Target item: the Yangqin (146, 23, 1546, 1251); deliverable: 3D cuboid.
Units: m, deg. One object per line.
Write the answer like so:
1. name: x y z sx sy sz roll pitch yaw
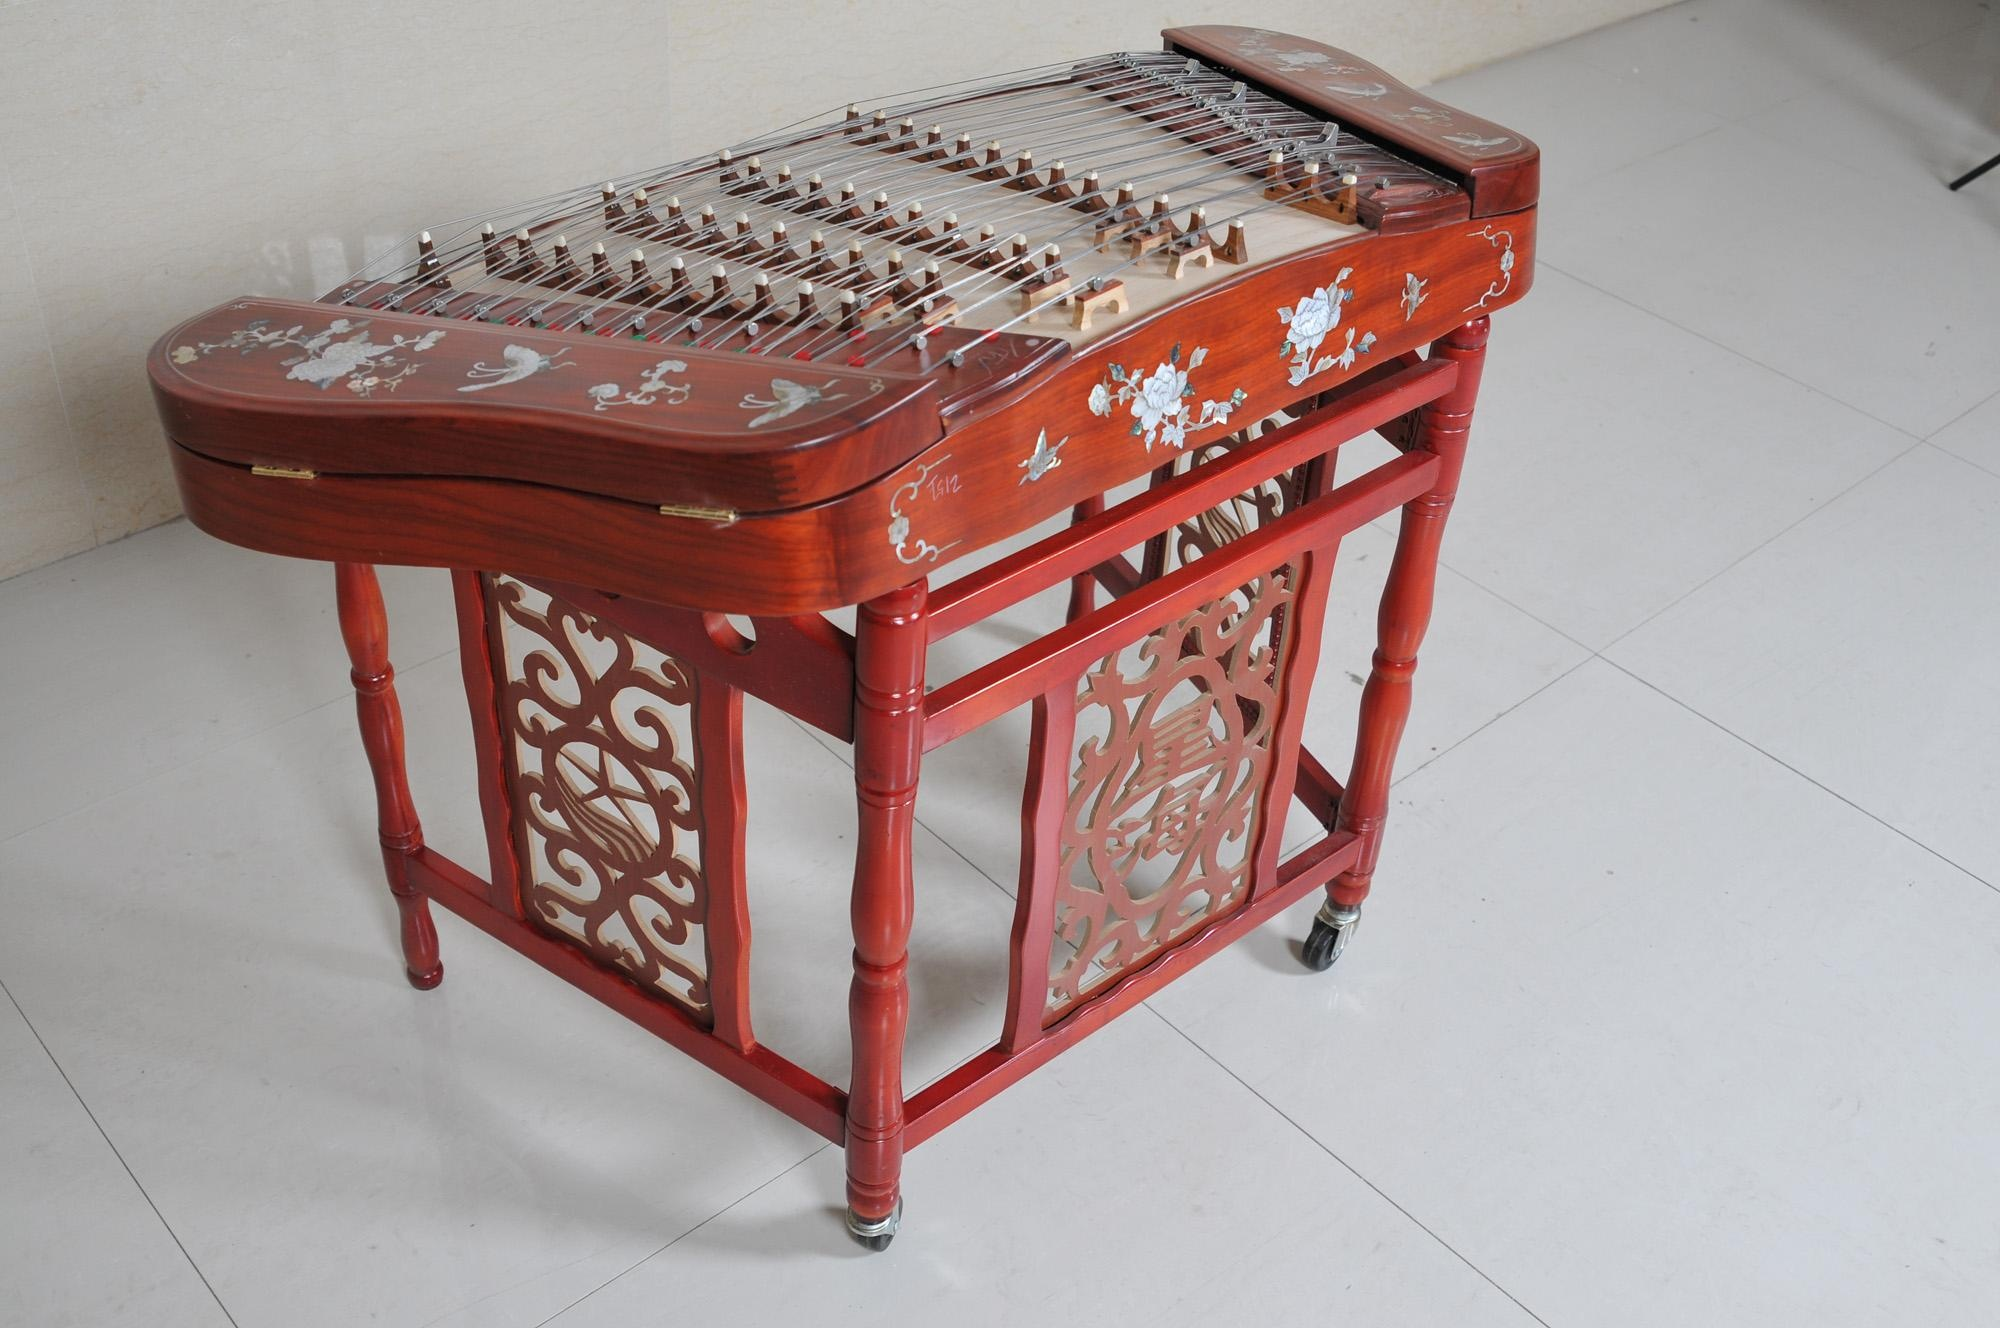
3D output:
1. Yangqin: -0.116 -0.034 2.546 0.988 1.127 1.796 25 33 38
